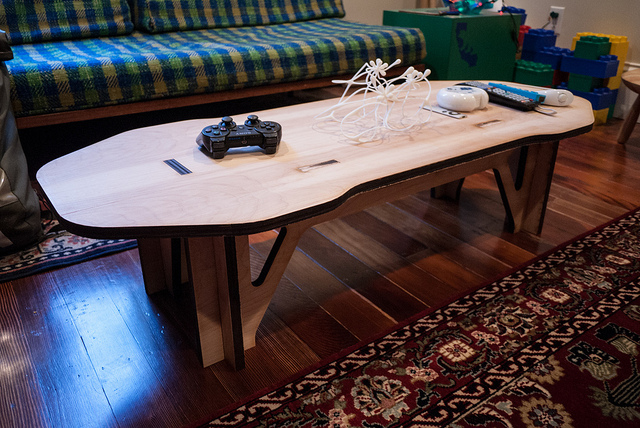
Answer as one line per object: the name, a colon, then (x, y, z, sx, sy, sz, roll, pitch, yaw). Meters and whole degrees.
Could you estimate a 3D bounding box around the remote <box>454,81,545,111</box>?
remote: (0.766, -0.496, 1.898, 0.304, 0.037, 0.165, 16, 30, 34)

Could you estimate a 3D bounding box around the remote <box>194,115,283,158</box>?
remote: (-0.256, -0.254, 1.461, 0.251, 0.095, 0.141, -4, 32, -7)

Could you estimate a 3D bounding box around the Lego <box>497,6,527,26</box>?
Lego: (1.473, -1.505, 3.392, 0.210, 0.113, 0.182, 3, 53, 12)

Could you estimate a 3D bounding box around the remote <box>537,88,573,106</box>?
remote: (0.982, -0.490, 1.886, 0.127, 0.041, 0.071, 14, 34, 31)

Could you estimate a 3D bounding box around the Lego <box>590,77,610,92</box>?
Lego: (1.893, -0.880, 3.047, 0.100, 0.080, 0.046, -16, 42, -20)

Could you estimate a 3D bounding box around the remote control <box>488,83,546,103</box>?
remote control: (0.853, -0.521, 1.923, 0.180, 0.026, 0.090, 20, 33, 12)

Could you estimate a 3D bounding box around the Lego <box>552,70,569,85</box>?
Lego: (1.710, -0.973, 3.196, 0.121, 0.097, 0.055, -13, 33, -18)

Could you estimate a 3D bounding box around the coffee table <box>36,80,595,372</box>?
coffee table: (0.171, -0.077, 1.885, 2.435, 0.552, 0.889, -16, 33, -32)
